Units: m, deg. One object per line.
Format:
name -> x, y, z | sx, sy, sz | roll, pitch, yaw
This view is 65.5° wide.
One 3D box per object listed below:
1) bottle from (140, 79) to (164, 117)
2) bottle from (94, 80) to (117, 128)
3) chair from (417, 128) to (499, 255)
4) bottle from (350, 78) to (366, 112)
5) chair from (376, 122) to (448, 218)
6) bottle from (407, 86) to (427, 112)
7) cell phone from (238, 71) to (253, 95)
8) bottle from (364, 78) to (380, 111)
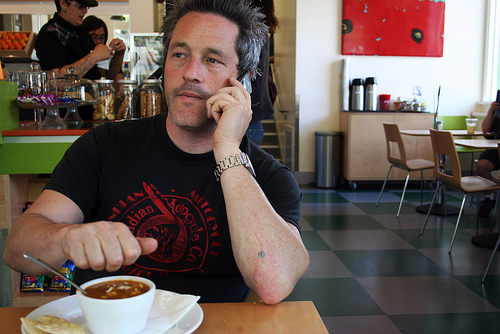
bottle -> -0.791, -0.531, 3.098 | 0.193, 0.341, 0.194 | 6, 20, -2
bottle -> -1.117, -0.519, 2.975 | 0.173, 0.321, 0.177 | 6, 18, -2
chair -> 2.461, 0.098, 4.499 | 0.836, 1.149, 2.581 | 5, 12, 24
bottle -> 1.704, -1.120, 6.057 | 0.296, 0.481, 0.171 | -8, 13, -34
chair -> 1.971, -0.122, 5.093 | 0.889, 1.452, 0.625 | 0, 2, -9
bottle -> 2.635, -1.072, 6.147 | 0.294, 0.388, 0.315 | 0, 11, 0
cell phone -> -0.017, -0.385, 1.784 | 0.068, 0.077, 0.083 | -5, 21, 1
bottle -> 1.936, -1.137, 6.106 | 0.346, 0.498, 0.145 | -11, 15, -43
